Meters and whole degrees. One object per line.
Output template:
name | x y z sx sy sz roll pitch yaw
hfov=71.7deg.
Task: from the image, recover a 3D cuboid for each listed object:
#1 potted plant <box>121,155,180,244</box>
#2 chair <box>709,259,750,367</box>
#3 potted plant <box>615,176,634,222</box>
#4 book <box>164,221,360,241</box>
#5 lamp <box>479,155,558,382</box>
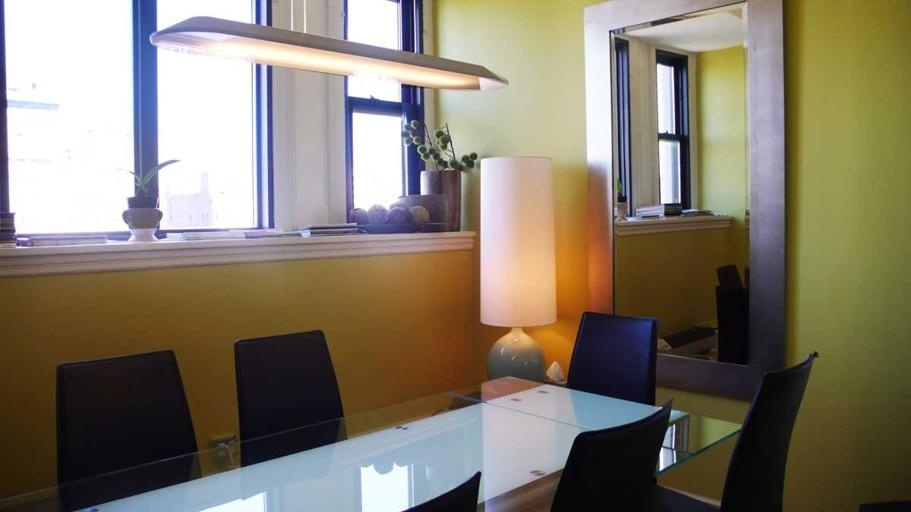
potted plant | -2.141 -0.359 4.309 0.277 0.499 0.446 -7 8 -26
chair | 1.871 0.373 4.300 0.235 0.637 0.160 2 6 -14
potted plant | 1.204 -0.415 4.615 0.112 0.284 0.106 -4 2 14
book | -1.374 -0.163 4.626 1.361 0.084 0.366 -5 7 -23
lamp | 0.453 0.095 4.596 0.559 1.612 0.394 -2 8 5
